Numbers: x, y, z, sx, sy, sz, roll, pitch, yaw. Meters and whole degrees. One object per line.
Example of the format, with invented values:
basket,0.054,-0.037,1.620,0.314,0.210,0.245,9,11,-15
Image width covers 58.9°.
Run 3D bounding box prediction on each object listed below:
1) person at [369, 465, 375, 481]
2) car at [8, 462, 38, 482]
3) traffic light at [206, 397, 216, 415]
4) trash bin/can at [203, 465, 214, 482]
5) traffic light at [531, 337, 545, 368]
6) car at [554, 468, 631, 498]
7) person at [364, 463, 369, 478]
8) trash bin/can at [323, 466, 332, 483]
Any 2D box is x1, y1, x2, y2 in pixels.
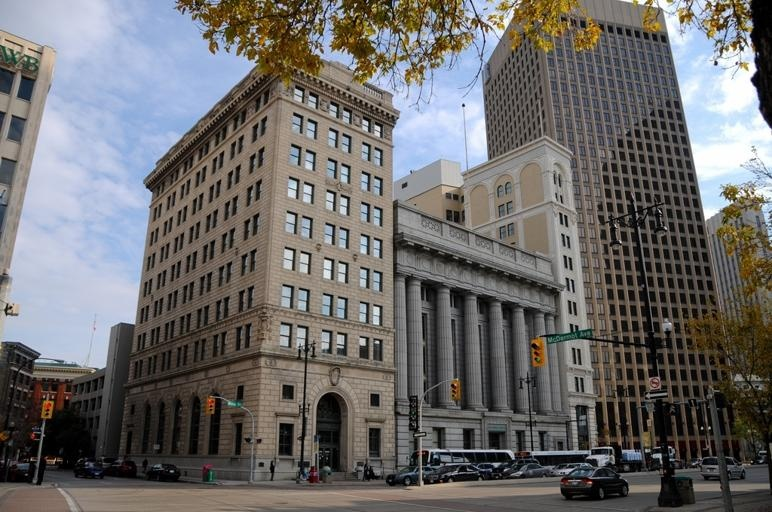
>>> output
person,-1.627,24.020,75.247,0.383,1.267,1.483,-7,8,11
car,-36.295,21.506,67.916,1.555,1.038,2.522,10,-11,-38
traffic light,-18.232,15.462,71.248,0.701,1.604,1.306,7,-23,-17
trash bin/can,-18.408,22.601,71.019,0.984,1.745,1.999,5,-23,-14
traffic light,12.781,8.014,57.738,0.968,2.373,1.190,0,-23,-2
car,16.623,18.320,55.142,5.719,1.634,2.585,12,-21,-36
person,-2.193,23.782,75.107,0.499,1.521,0.576,0,-23,-2
trash bin/can,-6.175,22.680,70.863,0.733,1.614,1.277,5,-23,-13
